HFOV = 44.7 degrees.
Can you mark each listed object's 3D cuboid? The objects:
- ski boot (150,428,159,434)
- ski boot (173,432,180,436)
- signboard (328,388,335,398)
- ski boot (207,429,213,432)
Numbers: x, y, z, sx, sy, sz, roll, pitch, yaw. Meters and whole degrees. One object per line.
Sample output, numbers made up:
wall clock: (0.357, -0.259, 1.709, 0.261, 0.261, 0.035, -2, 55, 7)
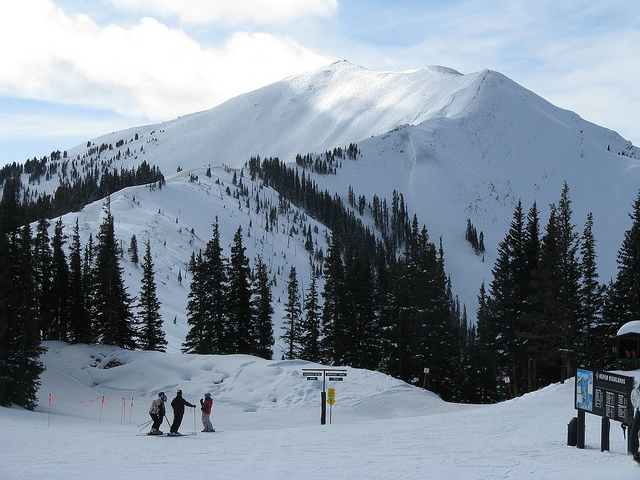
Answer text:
ski boot: (-11.486, 13.342, 54.241, 0.517, 0.385, 0.234, 0, 4, 8)
ski boot: (-9.885, 13.502, 54.027, 0.452, 0.206, 0.178, -3, 5, -30)
signboard: (0.833, 12.106, 61.236, 0.384, 0.748, 0.479, -1, 4, -2)
ski boot: (-7.877, 13.868, 56.477, 0.398, 0.150, 0.291, -4, 5, -33)
